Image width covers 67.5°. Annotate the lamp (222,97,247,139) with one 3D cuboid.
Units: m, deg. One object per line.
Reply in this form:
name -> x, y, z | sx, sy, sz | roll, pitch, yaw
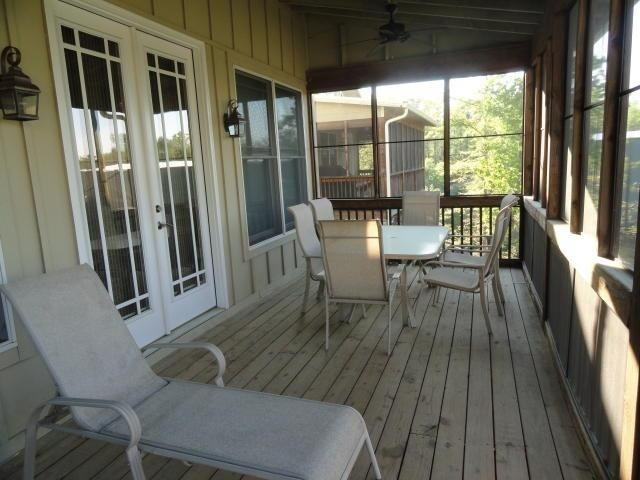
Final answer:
lamp -> -0.915, -1.337, 5.239 | 0.211, 0.430, 0.289 | -2, 13, 14
